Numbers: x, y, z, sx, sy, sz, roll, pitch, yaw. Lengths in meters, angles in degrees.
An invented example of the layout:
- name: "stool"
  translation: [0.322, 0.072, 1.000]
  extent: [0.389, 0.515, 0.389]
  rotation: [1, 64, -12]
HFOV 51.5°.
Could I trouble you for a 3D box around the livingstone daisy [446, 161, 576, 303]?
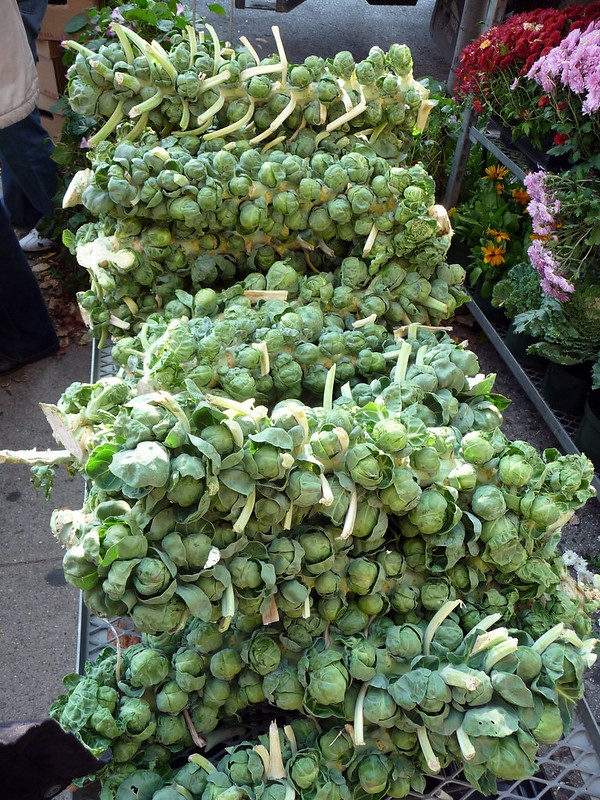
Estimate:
- name: "livingstone daisy"
  translation: [1.097, -0.944, 3.376]
  extent: [0.757, 0.438, 0.721]
  rotation: [10, 80, 6]
